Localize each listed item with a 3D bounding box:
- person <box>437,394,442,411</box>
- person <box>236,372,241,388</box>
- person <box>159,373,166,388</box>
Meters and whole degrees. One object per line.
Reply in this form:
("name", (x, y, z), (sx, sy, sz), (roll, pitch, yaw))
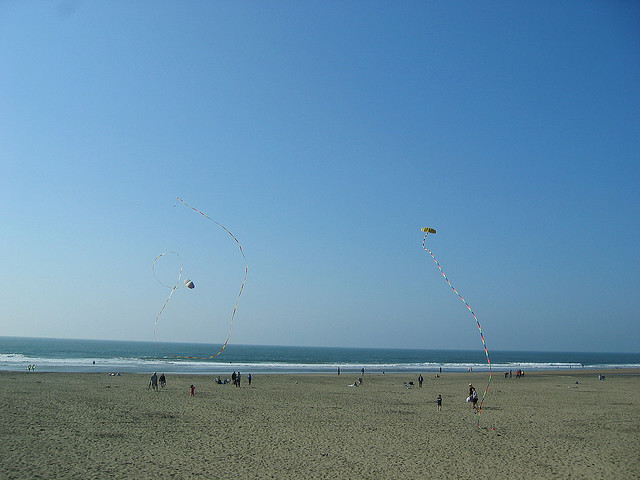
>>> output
("person", (6.123, 8.306, 28.267), (0.197, 0.741, 1.189), (-1, -10, 11))
("person", (-5.299, 9.125, 35.946), (0.174, 0.812, 1.001), (3, -10, -13))
("person", (-9.663, 8.562, 33.737), (0.237, 0.802, 0.908), (4, -10, -16))
